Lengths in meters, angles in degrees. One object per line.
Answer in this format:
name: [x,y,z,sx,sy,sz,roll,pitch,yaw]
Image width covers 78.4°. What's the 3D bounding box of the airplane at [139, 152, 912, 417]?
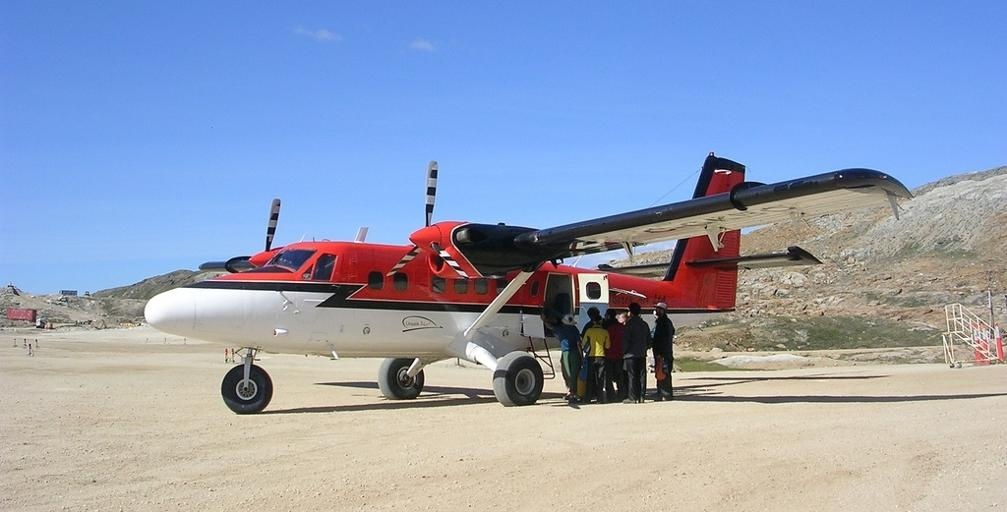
airplane: [0.165,1.399,16.981,15.758,5.414,7.580,0,-9,5]
